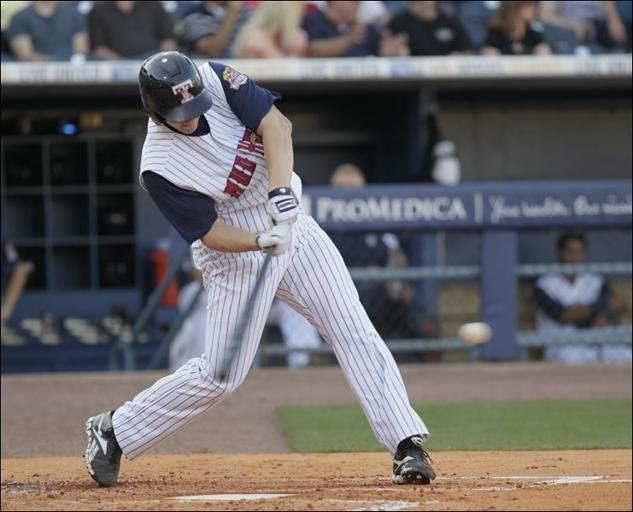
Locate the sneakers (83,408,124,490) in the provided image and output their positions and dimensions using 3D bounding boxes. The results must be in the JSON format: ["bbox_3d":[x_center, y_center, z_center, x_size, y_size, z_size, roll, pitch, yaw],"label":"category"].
[{"bbox_3d":[-1.254,1.139,8.881,0.243,0.470,0.173,-8,1,13],"label":"sneakers"}]

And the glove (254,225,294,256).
[{"bbox_3d":[-0.248,-0.089,8.578,0.199,0.173,0.124,-1,10,-1],"label":"glove"}]

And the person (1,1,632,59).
[{"bbox_3d":[-0.242,-1.854,12.356,3.832,0.507,0.770,-1,8,5],"label":"person"}]

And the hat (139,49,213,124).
[{"bbox_3d":[-0.822,-0.960,8.539,0.326,0.233,0.459,-31,43,-15],"label":"hat"}]

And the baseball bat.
[{"bbox_3d":[-0.451,0.309,8.760,0.118,1.145,0.079,4,-32,30],"label":"baseball bat"}]

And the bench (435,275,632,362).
[{"bbox_3d":[1.773,0.516,11.648,1.573,0.772,0.836,-2,10,-7],"label":"bench"}]

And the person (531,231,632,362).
[{"bbox_3d":[2.005,0.353,11.749,0.673,1.128,0.410,-2,1,-6],"label":"person"}]

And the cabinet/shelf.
[{"bbox_3d":[-2.082,-0.397,12.982,1.416,1.253,0.341,-7,3,-36],"label":"cabinet/shelf"}]

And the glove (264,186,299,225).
[{"bbox_3d":[-0.202,-0.283,8.549,0.129,0.152,0.212,-15,22,-10],"label":"glove"}]
